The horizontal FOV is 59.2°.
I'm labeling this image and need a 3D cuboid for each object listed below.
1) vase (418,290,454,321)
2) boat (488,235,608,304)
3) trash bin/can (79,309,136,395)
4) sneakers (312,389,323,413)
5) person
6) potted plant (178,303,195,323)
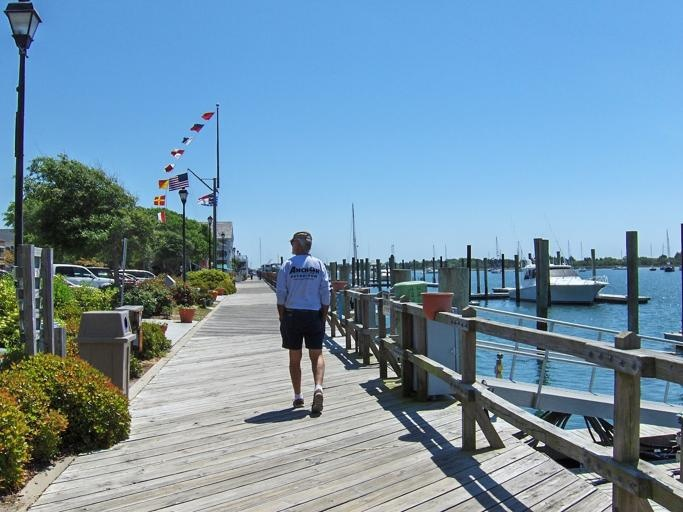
[{"bbox_3d":[1.052,0.546,6.694,0.348,0.303,0.366,-2,1,19],"label":"vase"},{"bbox_3d":[20.083,2.340,60.282,5.309,6.533,14.652,0,2,-13],"label":"boat"},{"bbox_3d":[-2.796,1.098,7.104,0.546,0.948,0.247,-2,1,-4],"label":"trash bin/can"},{"bbox_3d":[-0.280,1.723,7.162,0.104,0.310,0.130,-1,34,-9],"label":"sneakers"},{"bbox_3d":[-0.463,0.781,7.455,0.654,1.740,0.959,-2,1,-2],"label":"person"},{"bbox_3d":[-4.600,1.730,18.268,0.479,0.414,0.505,-5,-9,43],"label":"potted plant"}]
